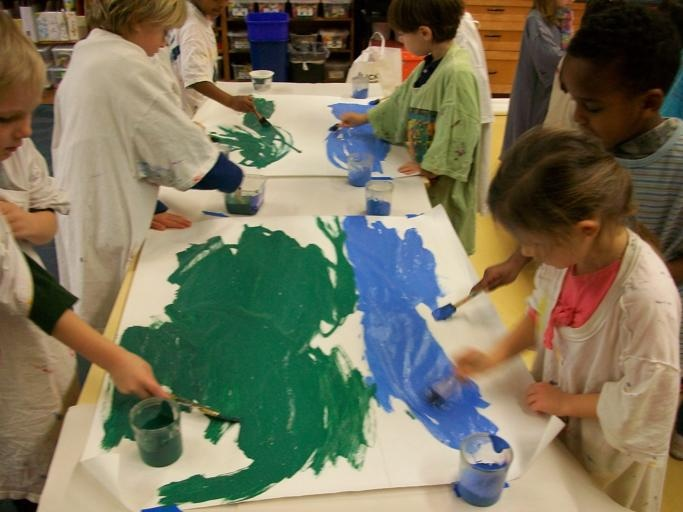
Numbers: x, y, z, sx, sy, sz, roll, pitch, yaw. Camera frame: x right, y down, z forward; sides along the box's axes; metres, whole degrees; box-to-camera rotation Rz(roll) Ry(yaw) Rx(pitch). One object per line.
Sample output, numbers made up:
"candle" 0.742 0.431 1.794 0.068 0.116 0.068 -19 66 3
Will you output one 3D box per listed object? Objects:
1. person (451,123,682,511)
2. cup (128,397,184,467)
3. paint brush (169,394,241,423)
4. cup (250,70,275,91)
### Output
"person" 0.652 0.208 1.529 0.641 1.039 0.338 22 32 34
"cup" -0.473 0.452 1.434 0.119 0.125 0.137 -7 27 -22
"paint brush" -0.371 0.415 1.505 0.144 0.014 0.034 16 4 -3
"cup" -0.503 -1.119 3.486 0.155 0.098 0.143 0 35 0
